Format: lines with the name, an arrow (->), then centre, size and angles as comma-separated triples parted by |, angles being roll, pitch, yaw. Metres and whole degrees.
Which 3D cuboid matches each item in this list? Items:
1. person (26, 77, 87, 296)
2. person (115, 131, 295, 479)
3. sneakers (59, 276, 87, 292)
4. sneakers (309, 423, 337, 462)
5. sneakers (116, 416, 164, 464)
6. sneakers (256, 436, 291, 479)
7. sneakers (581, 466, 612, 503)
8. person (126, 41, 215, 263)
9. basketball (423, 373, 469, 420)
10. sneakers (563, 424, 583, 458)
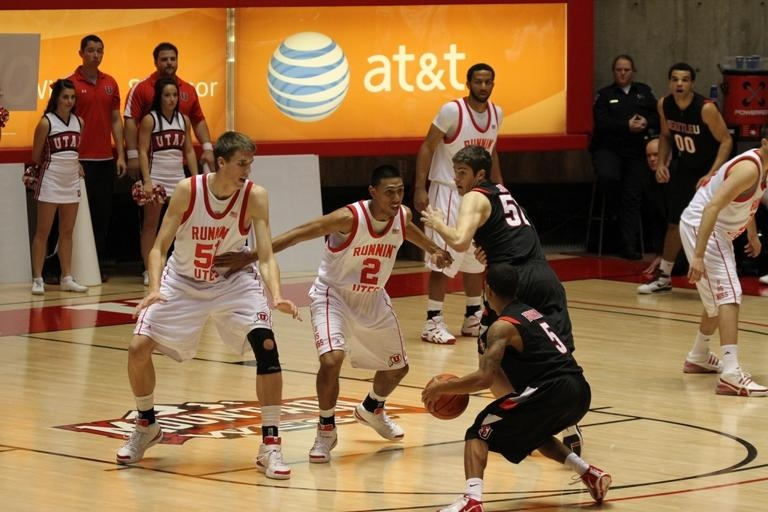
person -> -3.909, -0.807, 9.068 | 0.638, 2.521, 0.430 | -3, 9, -24
person -> -1.037, 0.252, 4.666 | 1.064, 1.984, 0.652 | 2, 8, 10
sneakers -> -3.822, 0.361, 9.278 | 0.410, 0.199, 0.160 | 5, 9, 29
sneakers -> -0.380, 1.152, 4.729 | 0.113, 0.168, 0.329 | -4, 12, 17
sneakers -> -1.498, 1.114, 4.648 | 0.116, 0.181, 0.347 | -2, 13, 28
sneakers -> -0.649, 1.170, 4.457 | 0.135, 0.220, 0.326 | 6, -1, -38
sneakers -> 1.121, 1.205, 4.051 | 0.116, 0.108, 0.267 | 18, -29, 25
person -> -2.489, -1.483, 9.871 | 0.785, 2.347, 0.672 | 10, 30, 34
basketball -> 0.368, 0.809, 4.453 | 0.223, 0.331, 0.312 | 7, -25, -10
sneakers -> 1.125, 1.095, 4.568 | 0.091, 0.116, 0.265 | 2, 14, 3
